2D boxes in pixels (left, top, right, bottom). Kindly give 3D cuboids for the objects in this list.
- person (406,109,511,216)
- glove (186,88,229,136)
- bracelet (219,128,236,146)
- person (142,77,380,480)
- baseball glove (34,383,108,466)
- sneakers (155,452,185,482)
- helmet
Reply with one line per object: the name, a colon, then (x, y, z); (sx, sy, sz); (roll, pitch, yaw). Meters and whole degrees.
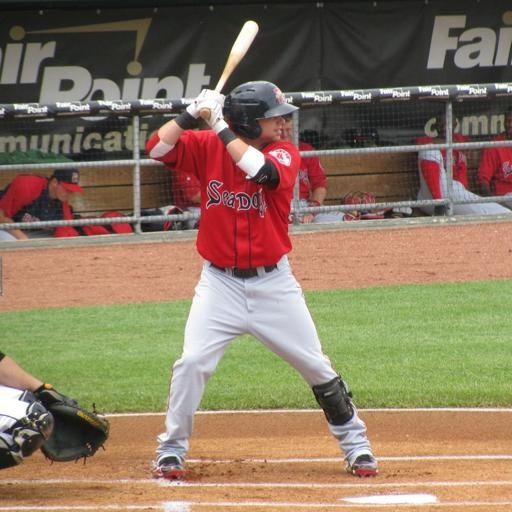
person: (1.718, -0.763, 9.391); (0.718, 0.838, 0.404); (1, 16, 6)
glove: (-0.235, -0.735, 5.713); (0.238, 0.224, 0.095); (29, -22, 13)
bracelet: (-0.137, -0.609, 5.632); (0.084, 0.086, 0.117); (-8, 16, -23)
person: (-0.018, 0.149, 5.830); (1.079, 2.062, 0.668); (-2, 16, -3)
baseball glove: (-0.968, 0.861, 5.800); (0.358, 0.428, 0.183); (-31, 22, 20)
sneakers: (-0.447, 1.081, 5.768); (0.156, 0.146, 0.100); (0, 15, 2)
helmet: (0.049, -0.769, 5.884); (0.391, 0.257, 0.272); (1, 11, 7)
